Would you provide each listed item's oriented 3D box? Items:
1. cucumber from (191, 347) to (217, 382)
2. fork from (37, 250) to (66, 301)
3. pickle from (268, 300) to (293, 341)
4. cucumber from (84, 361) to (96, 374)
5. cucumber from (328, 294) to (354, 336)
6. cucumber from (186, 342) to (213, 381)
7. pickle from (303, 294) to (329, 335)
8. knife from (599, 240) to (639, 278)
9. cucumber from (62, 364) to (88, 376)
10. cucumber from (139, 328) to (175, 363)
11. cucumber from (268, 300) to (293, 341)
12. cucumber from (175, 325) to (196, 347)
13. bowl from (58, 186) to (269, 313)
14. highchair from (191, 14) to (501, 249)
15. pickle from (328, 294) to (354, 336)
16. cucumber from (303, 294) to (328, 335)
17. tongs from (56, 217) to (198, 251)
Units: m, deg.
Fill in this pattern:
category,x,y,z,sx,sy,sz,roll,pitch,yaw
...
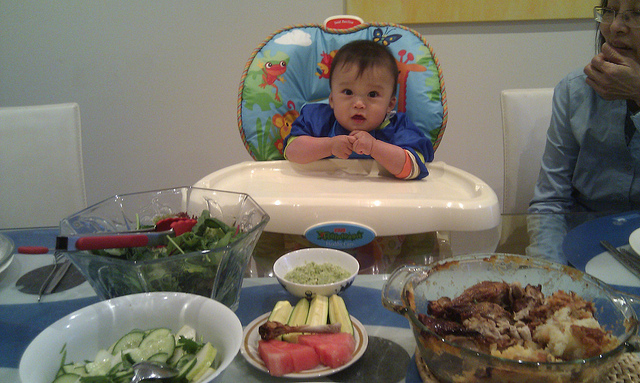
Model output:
category,x,y,z,sx,sy,sz,roll,pitch,yaw
cucumber,-0.275,0.421,1.096,0.014,0.058,0.057,41,12,-5
fork,-0.784,0.247,1.345,0.050,0.011,0.147,10,36,1
pickle,-0.105,0.332,1.241,0.054,0.040,0.069,2,22,11
cucumber,-0.558,0.430,1.107,0.021,0.006,0.019,11,39,5
cucumber,0.053,0.323,1.237,0.055,0.163,0.027,-3,35,13
cucumber,-0.284,0.414,1.100,0.018,0.065,0.063,42,16,-16
pickle,-0.005,0.339,1.244,0.060,0.019,0.128,-1,24,6
knife,0.839,0.187,1.295,0.019,0.022,0.137,-17,44,-8
cucumber,-0.592,0.434,1.103,0.035,0.010,0.033,6,-3,-7
cucumber,-0.403,0.382,1.134,0.089,0.016,0.078,-33,72,2
cucumber,-0.103,0.339,1.255,0.054,0.112,0.027,14,22,-5
cucumber,-0.338,0.364,1.142,0.043,0.014,0.045,8,62,9
bowl,-0.410,0.142,1.251,0.465,0.212,0.418,1,27,-3
highchair,0.076,-0.292,1.736,1.020,0.698,0.857,-2,22,1
pickle,0.052,0.338,1.254,0.060,0.040,0.173,-1,9,-5
cucumber,-0.008,0.340,1.240,0.062,0.019,0.129,20,31,-7
tongs,-0.531,0.076,1.316,0.372,0.065,0.263,9,13,32
